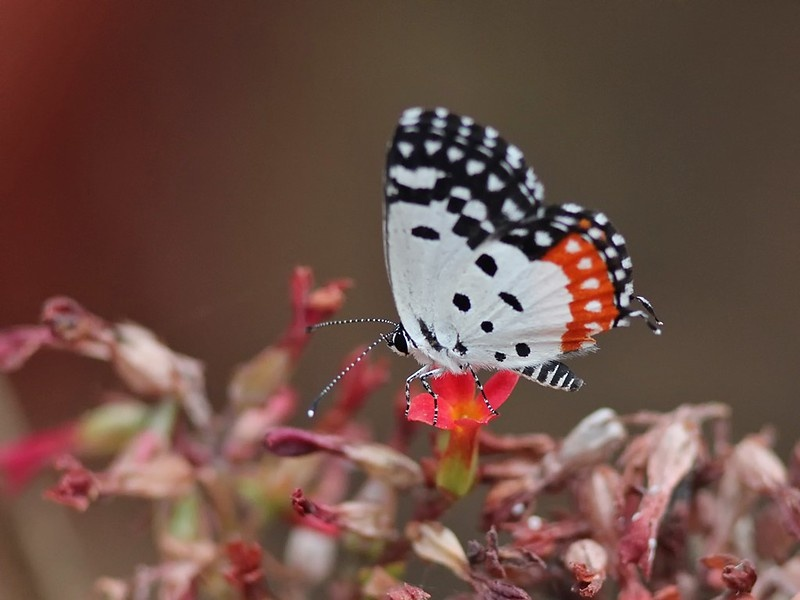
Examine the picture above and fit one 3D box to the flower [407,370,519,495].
[{"bbox_3d":[0.097,0.235,1.891,0.213,0.241,0.310,5,-85,-4],"label":"flower"}]
